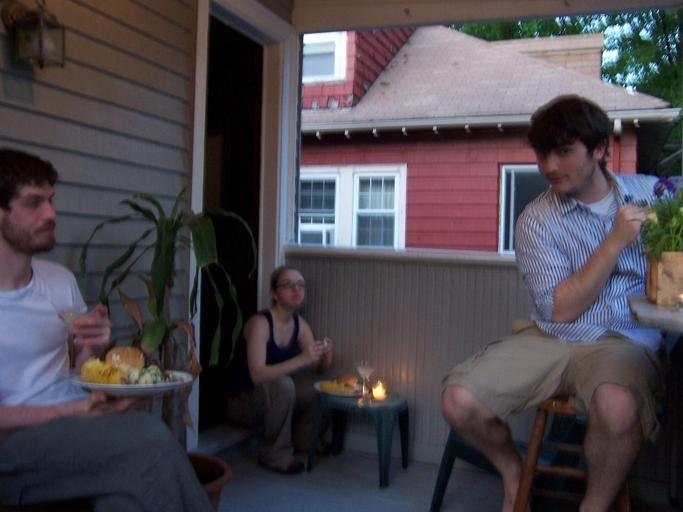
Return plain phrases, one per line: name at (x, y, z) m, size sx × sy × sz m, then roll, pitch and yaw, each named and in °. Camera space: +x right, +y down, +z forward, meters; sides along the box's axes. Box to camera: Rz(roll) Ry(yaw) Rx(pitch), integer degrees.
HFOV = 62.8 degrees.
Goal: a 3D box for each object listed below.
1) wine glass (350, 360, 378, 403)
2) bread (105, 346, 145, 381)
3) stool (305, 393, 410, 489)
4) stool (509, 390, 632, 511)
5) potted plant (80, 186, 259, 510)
wine glass at (0.122, 0.723, 3.281) m, size 0.141 × 0.274 × 0.147 m, roll 0°, pitch -1°, yaw 23°
bread at (-0.728, 0.345, 1.872) m, size 0.092 × 0.111 × 0.101 m, roll 3°, pitch 2°, yaw 19°
stool at (0.114, 0.986, 3.224) m, size 0.528 × 0.447 × 0.461 m, roll 4°, pitch 3°, yaw 19°
stool at (0.893, 0.733, 2.114) m, size 0.378 × 0.423 × 0.398 m, roll 4°, pitch 3°, yaw 30°
potted plant at (-0.644, 0.272, 2.800) m, size 0.897 × 1.418 × 1.010 m, roll 7°, pitch 7°, yaw 37°
